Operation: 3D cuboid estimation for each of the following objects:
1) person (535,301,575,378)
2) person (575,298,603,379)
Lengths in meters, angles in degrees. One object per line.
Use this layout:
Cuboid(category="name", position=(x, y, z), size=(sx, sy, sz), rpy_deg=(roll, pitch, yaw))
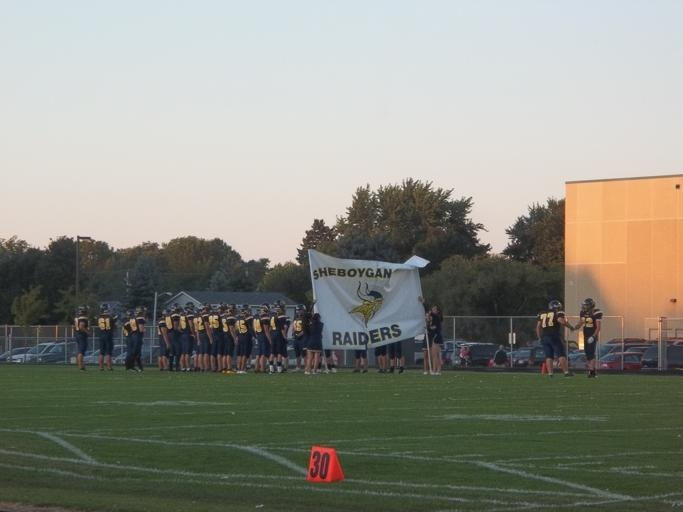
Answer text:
Cuboid(category="person", position=(6.403, 2.253, 50.250), size=(1.149, 2.835, 1.202), rpy_deg=(1, -1, -39))
Cuboid(category="person", position=(7.418, 2.388, 51.382), size=(1.176, 2.509, 1.091), rpy_deg=(0, -4, -4))
